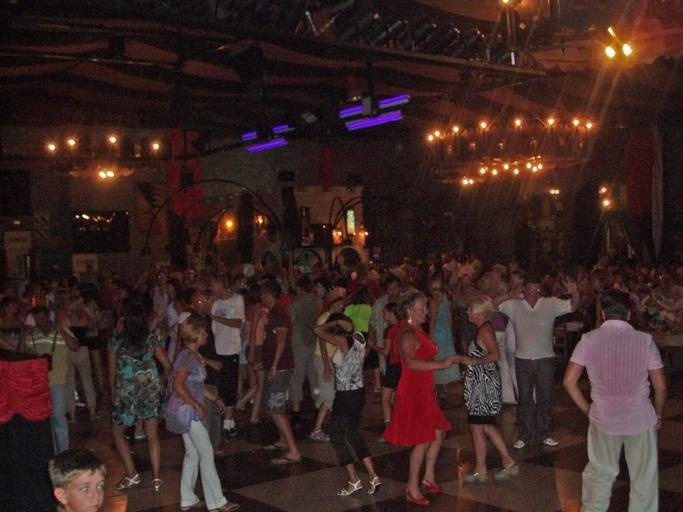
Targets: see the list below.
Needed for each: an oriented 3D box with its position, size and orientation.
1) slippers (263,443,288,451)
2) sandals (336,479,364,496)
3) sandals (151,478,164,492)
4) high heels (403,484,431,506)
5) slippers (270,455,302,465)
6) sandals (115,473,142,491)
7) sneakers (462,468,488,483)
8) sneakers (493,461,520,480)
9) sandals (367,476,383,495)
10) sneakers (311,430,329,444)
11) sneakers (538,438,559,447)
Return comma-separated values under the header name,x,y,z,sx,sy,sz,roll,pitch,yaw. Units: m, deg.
name,x,y,z,sx,sy,sz,roll,pitch,yaw
slippers,-0.965,2.739,9.775,0.327,0.091,0.126,3,-6,-5
sandals,0.097,2.797,8.198,0.294,0.127,0.153,-11,-4,-16
sandals,-2.339,2.883,8.577,0.109,0.134,0.070,0,2,0
high heels,0.866,2.814,7.936,0.121,0.143,0.349,3,-9,-40
slippers,-0.767,2.775,9.245,0.314,0.085,0.142,5,-11,-17
sandals,-2.699,2.860,8.642,0.260,0.102,0.156,0,-2,-8
sneakers,1.659,2.731,8.446,0.237,0.094,0.127,2,-4,8
sneakers,2.094,2.689,8.535,0.404,0.152,0.156,-9,13,-28
sandals,0.386,2.735,8.181,0.154,0.209,0.131,-4,12,-6
sneakers,-0.327,2.701,10.180,0.251,0.109,0.142,-3,-4,23
sneakers,2.924,2.614,9.564,0.108,0.065,0.151,1,-8,-25
